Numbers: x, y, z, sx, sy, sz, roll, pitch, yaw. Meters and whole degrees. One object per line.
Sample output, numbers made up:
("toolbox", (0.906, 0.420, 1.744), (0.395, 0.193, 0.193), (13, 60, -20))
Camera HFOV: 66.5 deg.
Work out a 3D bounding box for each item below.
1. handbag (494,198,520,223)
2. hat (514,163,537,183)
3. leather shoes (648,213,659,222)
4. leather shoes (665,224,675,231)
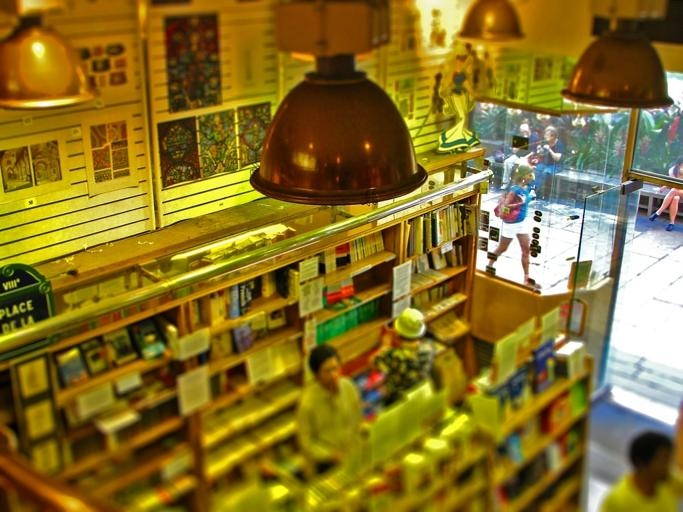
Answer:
("handbag", (1.721, -0.471, 5.472), (0.217, 0.220, 0.170), (9, 17, 36))
("hat", (1.840, -0.828, 5.281), (0.138, 0.192, 0.159), (-1, -25, 27))
("leather shoes", (3.582, -0.454, 6.002), (0.043, 0.128, 0.054), (44, 21, 24))
("leather shoes", (3.768, -0.340, 6.008), (0.051, 0.056, 0.139), (4, -7, 31))
